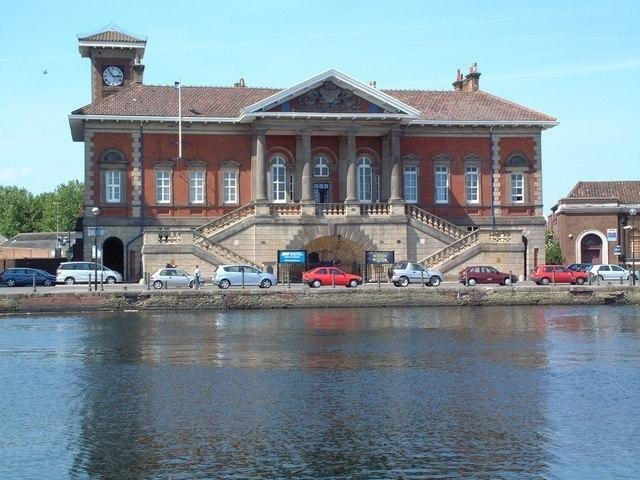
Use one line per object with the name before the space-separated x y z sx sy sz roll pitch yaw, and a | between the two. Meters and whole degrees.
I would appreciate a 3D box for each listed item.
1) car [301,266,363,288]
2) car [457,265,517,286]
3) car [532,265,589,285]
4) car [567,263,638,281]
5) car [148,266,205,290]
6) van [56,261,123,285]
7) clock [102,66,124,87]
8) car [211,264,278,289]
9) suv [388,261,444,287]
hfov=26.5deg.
car | 0.760 1.969 72.018 2.784 0.873 1.171 -1 1 -8
car | 9.053 1.882 74.253 2.597 0.750 1.151 -1 2 -10
car | 13.565 1.991 76.478 2.944 0.865 1.300 -2 2 -11
car | 17.248 1.948 81.101 3.474 0.923 1.614 -1 2 -7
car | -7.561 1.975 71.144 2.509 0.785 1.116 -2 2 -10
van | -13.269 1.904 76.973 3.908 1.227 1.605 -1 0 -8
clock | -15.500 -12.224 101.579 1.856 1.598 0.218 0 -10 -6
car | -4.079 1.905 71.579 2.687 0.846 1.362 -1 1 -17
suv | 5.229 1.806 73.048 2.430 1.006 1.238 -2 2 -8
